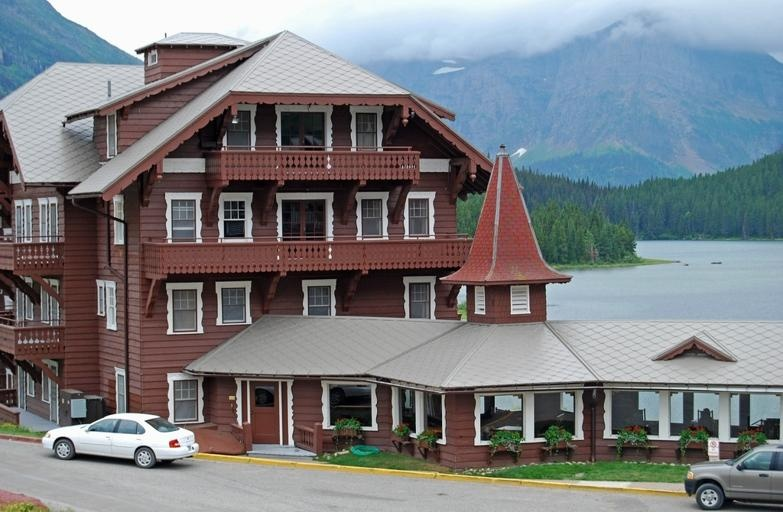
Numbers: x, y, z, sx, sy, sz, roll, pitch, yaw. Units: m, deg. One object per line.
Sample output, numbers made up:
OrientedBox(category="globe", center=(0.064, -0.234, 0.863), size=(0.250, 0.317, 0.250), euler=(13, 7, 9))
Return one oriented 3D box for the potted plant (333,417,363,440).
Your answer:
OrientedBox(category="potted plant", center=(-2.845, 11.250, 108.654), size=(1.626, 1.012, 1.368), euler=(1, 0, 11))
